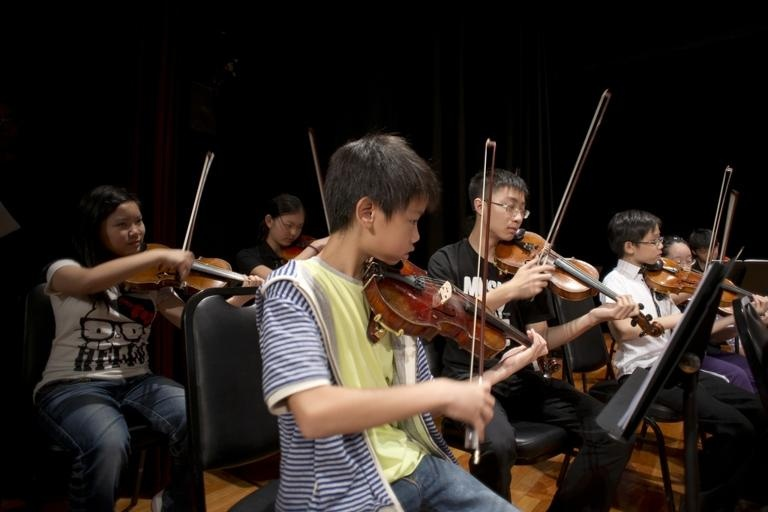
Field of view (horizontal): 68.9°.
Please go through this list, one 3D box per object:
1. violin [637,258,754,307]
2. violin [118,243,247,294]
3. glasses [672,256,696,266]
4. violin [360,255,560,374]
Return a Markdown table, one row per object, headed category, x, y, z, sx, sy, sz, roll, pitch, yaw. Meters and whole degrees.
| category | x | y | z | sx | sy | sz | roll | pitch | yaw |
| --- | --- | --- | --- | --- | --- | --- | --- | --- | --- |
| violin | 1.951 | 0.171 | 3.549 | 0.506 | 0.100 | 0.189 | 20 | 31 | -5 |
| violin | -1.207 | 0.084 | 3.485 | 0.117 | 0.390 | 0.878 | -6 | -15 | 26 |
| glasses | 2.418 | 0.047 | 4.536 | 0.143 | 0.034 | 0.087 | 7 | -5 | -37 |
| violin | 0.304 | 0.274 | 2.581 | 0.917 | 0.185 | 0.364 | 28 | 23 | -38 |
